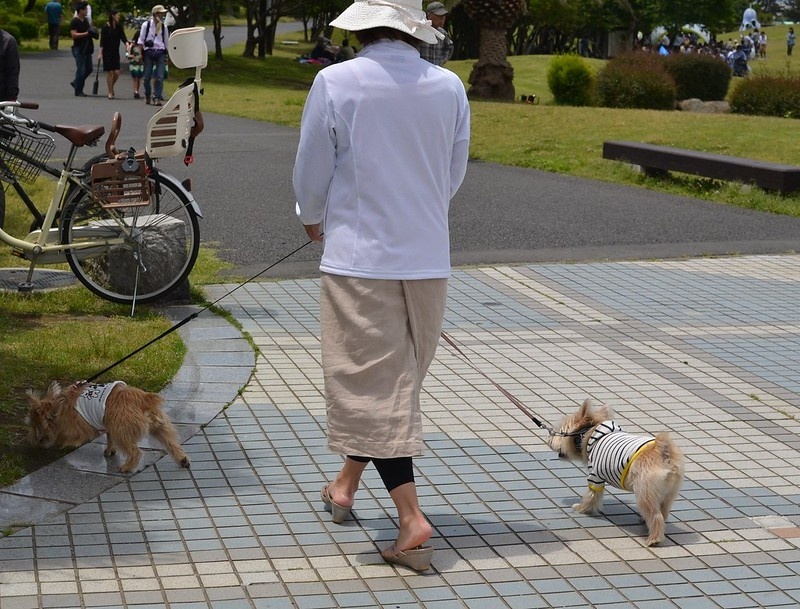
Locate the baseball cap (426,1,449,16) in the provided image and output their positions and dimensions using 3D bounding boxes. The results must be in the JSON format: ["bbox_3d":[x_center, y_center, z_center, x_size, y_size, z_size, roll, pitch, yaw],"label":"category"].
[{"bbox_3d":[0.515,-4.356,15.015,0.340,0.219,0.451,-17,23,-41],"label":"baseball cap"}]

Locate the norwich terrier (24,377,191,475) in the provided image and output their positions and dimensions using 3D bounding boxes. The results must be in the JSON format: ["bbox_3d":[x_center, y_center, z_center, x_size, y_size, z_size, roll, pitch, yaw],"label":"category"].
[{"bbox_3d":[-1.610,0.662,5.665,1.118,0.424,0.297,-1,8,28],"label":"norwich terrier"}]

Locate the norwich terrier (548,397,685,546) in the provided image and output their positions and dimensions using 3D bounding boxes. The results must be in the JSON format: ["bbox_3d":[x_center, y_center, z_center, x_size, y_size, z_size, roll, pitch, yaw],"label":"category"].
[{"bbox_3d":[1.139,0.841,5.300,0.329,0.527,0.886,0,6,-30],"label":"norwich terrier"}]

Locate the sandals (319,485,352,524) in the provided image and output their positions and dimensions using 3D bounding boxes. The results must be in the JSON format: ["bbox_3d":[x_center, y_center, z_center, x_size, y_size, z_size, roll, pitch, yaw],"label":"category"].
[{"bbox_3d":[-0.349,1.038,5.351,0.104,0.096,0.256,10,16,-25],"label":"sandals"}]

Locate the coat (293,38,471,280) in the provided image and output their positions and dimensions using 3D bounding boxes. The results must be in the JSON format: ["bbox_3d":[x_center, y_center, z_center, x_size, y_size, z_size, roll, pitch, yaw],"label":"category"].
[{"bbox_3d":[-0.076,-0.702,4.879,0.838,1.085,0.493,4,17,-5],"label":"coat"}]

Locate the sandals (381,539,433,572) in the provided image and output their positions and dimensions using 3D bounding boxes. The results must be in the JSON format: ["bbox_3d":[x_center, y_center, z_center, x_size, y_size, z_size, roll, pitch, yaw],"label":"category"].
[{"bbox_3d":[0.025,1.200,4.914,0.231,0.081,0.119,11,7,28],"label":"sandals"}]
